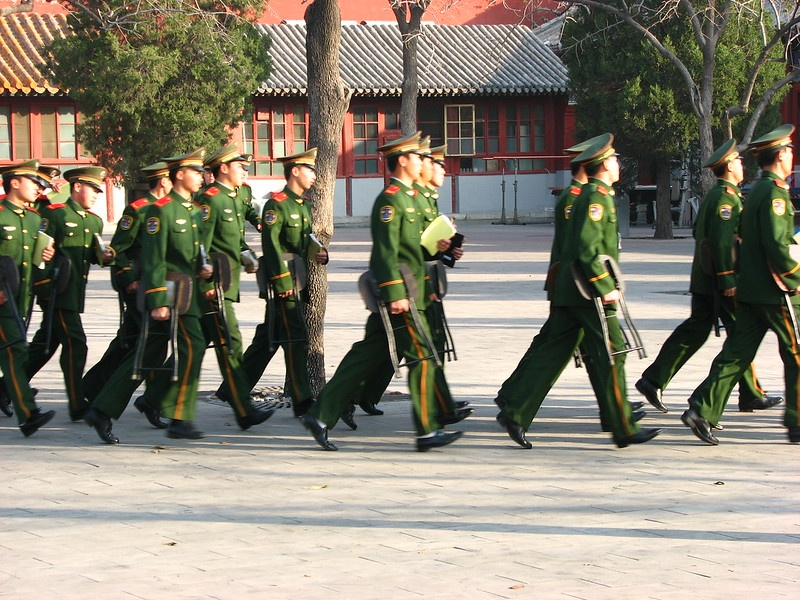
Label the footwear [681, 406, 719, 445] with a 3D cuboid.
[{"bbox_3d":[2.353,0.987,11.102,0.296,0.298,0.271,2,14,10],"label":"footwear"}]

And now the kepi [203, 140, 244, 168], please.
[{"bbox_3d":[-1.590,-1.257,12.213,0.410,0.124,0.260,-5,3,8],"label":"kepi"}]

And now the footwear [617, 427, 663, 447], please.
[{"bbox_3d":[1.835,1.072,10.943,0.405,0.132,0.132,-14,16,12],"label":"footwear"}]

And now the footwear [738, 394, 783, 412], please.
[{"bbox_3d":[3.059,0.876,12.184,0.464,0.152,0.132,-5,12,-5],"label":"footwear"}]

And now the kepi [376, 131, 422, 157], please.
[{"bbox_3d":[-0.007,-1.216,11.028,0.328,0.113,0.220,-3,8,-1],"label":"kepi"}]

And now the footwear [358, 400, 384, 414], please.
[{"bbox_3d":[-0.269,0.931,12.202,0.284,0.098,0.086,14,22,-36],"label":"footwear"}]

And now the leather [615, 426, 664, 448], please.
[{"bbox_3d":[1.829,1.070,10.948,0.415,0.135,0.135,-14,19,11],"label":"leather"}]

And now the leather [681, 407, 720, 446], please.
[{"bbox_3d":[2.353,0.987,11.102,0.296,0.298,0.271,2,14,10],"label":"leather"}]

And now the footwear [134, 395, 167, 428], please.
[{"bbox_3d":[-2.037,0.923,11.625,0.173,0.372,0.118,-32,37,21],"label":"footwear"}]

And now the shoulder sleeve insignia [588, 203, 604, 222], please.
[{"bbox_3d":[1.494,-0.658,10.787,0.127,0.131,0.047,-1,15,-3],"label":"shoulder sleeve insignia"}]

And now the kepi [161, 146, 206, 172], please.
[{"bbox_3d":[-1.740,-1.124,11.316,0.304,0.113,0.229,-2,4,1],"label":"kepi"}]
